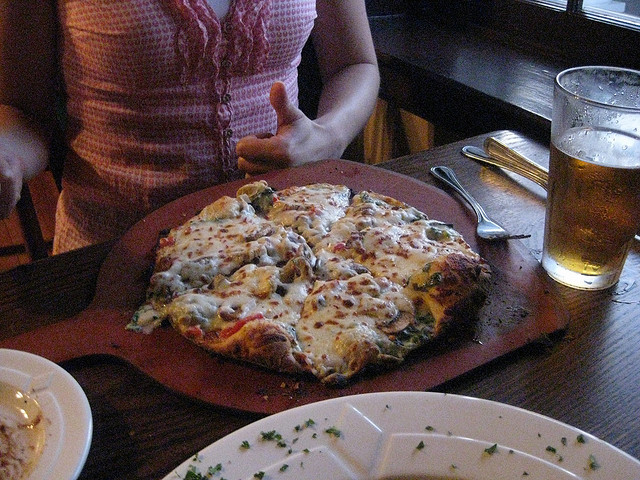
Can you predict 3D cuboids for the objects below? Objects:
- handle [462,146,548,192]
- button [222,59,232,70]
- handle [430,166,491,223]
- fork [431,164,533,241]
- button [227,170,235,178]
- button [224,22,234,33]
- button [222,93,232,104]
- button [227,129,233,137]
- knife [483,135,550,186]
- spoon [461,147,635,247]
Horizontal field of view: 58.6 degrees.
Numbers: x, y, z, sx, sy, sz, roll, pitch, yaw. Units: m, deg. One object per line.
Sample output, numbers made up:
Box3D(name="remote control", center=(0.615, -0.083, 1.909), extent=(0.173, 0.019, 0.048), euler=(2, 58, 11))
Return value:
Box3D(name="handle", center=(0.425, -0.161, 1.325), extent=(0.030, 0.022, 0.216), euler=(-22, 42, -25))
Box3D(name="button", center=(-0.232, -0.431, 1.412), extent=(0.020, 0.005, 0.020), euler=(-2, 60, -4))
Box3D(name="handle", center=(0.300, -0.114, 1.255), extent=(0.044, 0.020, 0.233), euler=(-13, 37, -7))
Box3D(name="fork", center=(0.322, -0.069, 1.248), extent=(0.068, 0.057, 0.390), euler=(-6, 36, -15))
Box3D(name="button", center=(-0.235, -0.173, 1.496), extent=(0.015, 0.003, 0.015), euler=(-12, 47, -19))
Box3D(name="button", center=(-0.225, -0.514, 1.387), extent=(0.022, 0.007, 0.022), euler=(-1, 78, -3))
Box3D(name="button", center=(-0.238, -0.356, 1.443), extent=(0.022, 0.005, 0.022), euler=(-5, 72, -18))
Box3D(name="button", center=(-0.231, -0.274, 1.467), extent=(0.014, 0.003, 0.015), euler=(19, 45, 7))
Box3D(name="knife", center=(0.457, -0.180, 1.342), extent=(0.042, 0.059, 0.216), euler=(-32, 51, -28))
Box3D(name="spoon", center=(0.398, -0.098, 1.124), extent=(0.083, 0.064, 0.414), euler=(-28, 46, -22))
